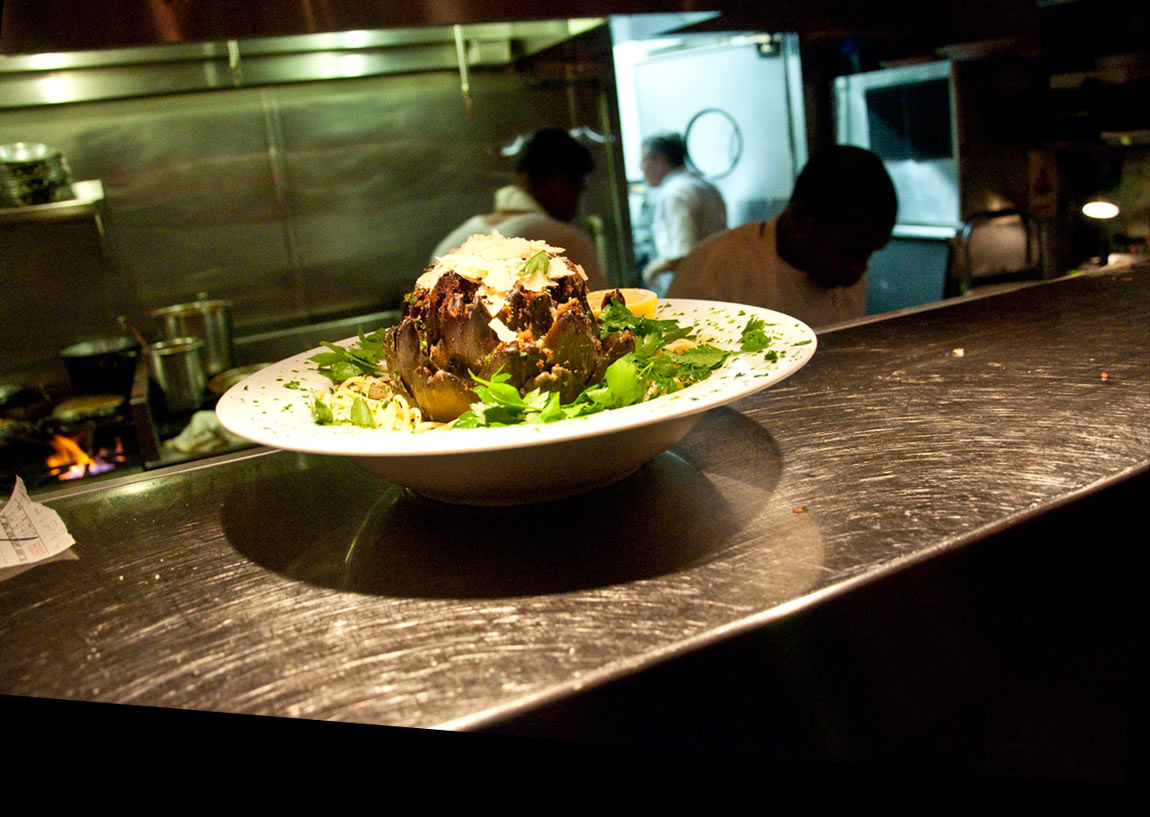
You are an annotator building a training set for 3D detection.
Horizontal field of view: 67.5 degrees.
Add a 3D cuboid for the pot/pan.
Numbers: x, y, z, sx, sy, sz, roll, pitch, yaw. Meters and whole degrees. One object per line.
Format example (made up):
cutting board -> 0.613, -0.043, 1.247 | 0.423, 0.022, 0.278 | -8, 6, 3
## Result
pot/pan -> -0.792, -0.095, 1.684 | 0.312, 0.182, 0.176 | -7, 12, -12
